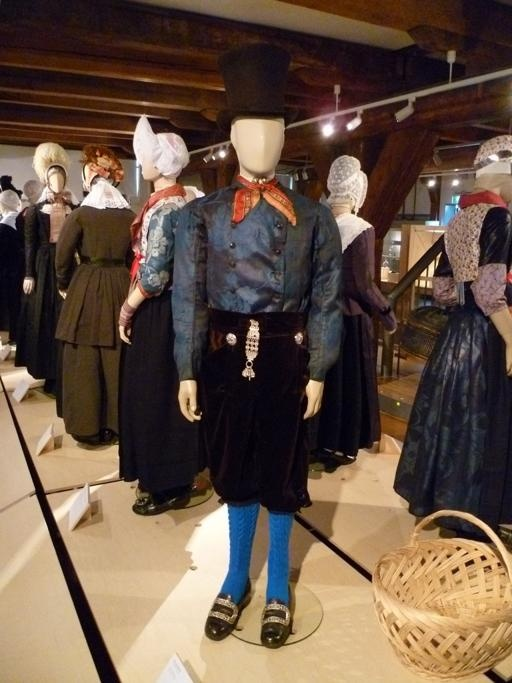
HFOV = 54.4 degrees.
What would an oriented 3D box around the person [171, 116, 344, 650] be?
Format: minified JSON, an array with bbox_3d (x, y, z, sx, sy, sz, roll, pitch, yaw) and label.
[{"bbox_3d":[-0.003,0.136,1.345,0.443,1.372,0.225,0,7,-11],"label":"person"}]

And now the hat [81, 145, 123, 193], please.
[{"bbox_3d":[-0.747,-0.884,2.562,0.181,0.213,0.230,5,9,12],"label":"hat"}]

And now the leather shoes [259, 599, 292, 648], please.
[{"bbox_3d":[0.052,0.765,1.360,0.052,0.054,0.135,-1,-2,5],"label":"leather shoes"}]

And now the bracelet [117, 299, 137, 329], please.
[{"bbox_3d":[-0.499,-0.107,1.916,0.042,0.110,0.101,-5,9,-42],"label":"bracelet"}]

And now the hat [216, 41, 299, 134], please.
[{"bbox_3d":[-0.012,-0.624,1.234,0.183,0.139,0.177,14,20,43],"label":"hat"}]

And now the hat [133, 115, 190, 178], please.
[{"bbox_3d":[-0.368,-0.745,2.003,0.262,0.183,0.176,12,3,-32],"label":"hat"}]
